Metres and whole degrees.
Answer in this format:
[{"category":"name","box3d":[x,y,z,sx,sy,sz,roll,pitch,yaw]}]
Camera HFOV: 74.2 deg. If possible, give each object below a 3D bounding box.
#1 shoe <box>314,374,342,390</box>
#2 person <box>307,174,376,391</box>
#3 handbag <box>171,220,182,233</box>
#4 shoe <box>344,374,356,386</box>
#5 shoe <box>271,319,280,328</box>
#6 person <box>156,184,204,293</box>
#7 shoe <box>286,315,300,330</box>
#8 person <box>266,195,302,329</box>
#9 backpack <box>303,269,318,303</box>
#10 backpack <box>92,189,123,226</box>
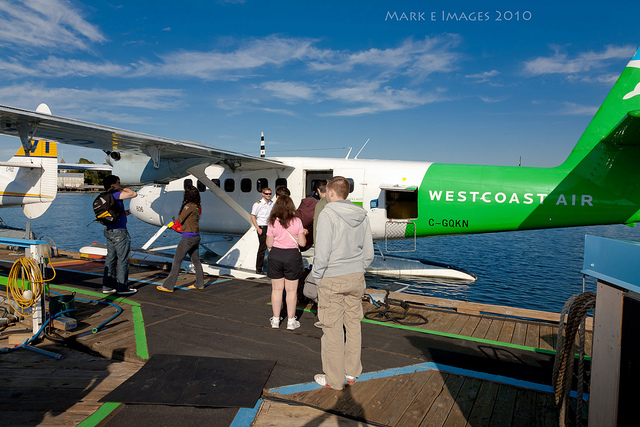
[{"category":"shoe","box3d":[0.098,2.197,5.506,0.312,0.101,0.099,20,25,1]},{"category":"person","box3d":[0.272,0.911,5.510,0.755,2.698,0.483,6,4,5]},{"category":"handbag","box3d":[-2.844,0.263,8.494,0.263,0.223,0.070,26,39,31]},{"category":"shoe","box3d":[0.392,2.167,5.502,0.152,0.134,0.079,4,4,-3]},{"category":"shoe","box3d":[-0.726,1.787,6.856,0.132,0.152,0.083,3,4,-23]},{"category":"person","box3d":[-2.720,0.521,8.574,0.810,2.144,0.732,4,4,-14]},{"category":"shoe","box3d":[-0.445,1.785,6.879,0.122,0.106,0.285,-1,-2,19]},{"category":"person","box3d":[-0.580,0.799,6.700,0.610,2.176,0.251,5,4,-3]},{"category":"backpack","box3d":[-0.175,1.255,7.226,0.240,0.610,0.549,5,3,-2]},{"category":"backpack","box3d":[-4.070,-0.109,7.981,0.564,0.701,0.375,5,4,2]}]
